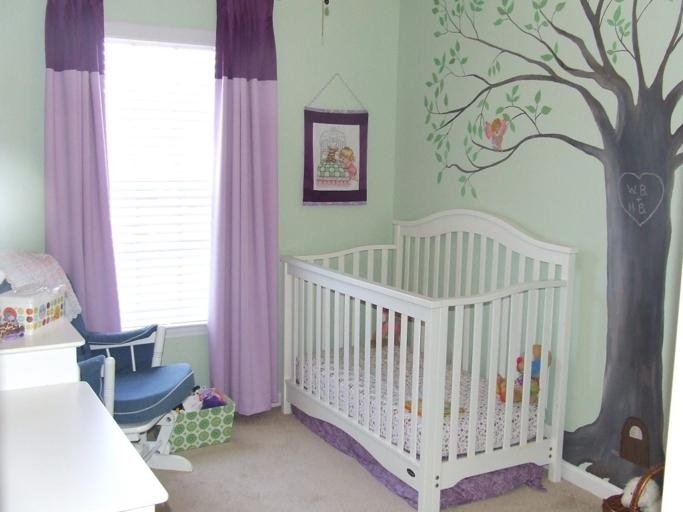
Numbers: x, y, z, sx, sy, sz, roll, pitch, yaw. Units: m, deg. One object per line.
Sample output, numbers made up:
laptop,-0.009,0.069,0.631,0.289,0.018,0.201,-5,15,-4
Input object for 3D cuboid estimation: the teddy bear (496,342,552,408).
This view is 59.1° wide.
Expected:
teddy bear,0.956,0.607,3.196,0.332,0.321,0.228,-6,14,-26

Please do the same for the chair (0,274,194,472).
chair,-1.094,0.651,3.114,0.916,1.177,0.775,1,4,-17

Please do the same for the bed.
bed,0.427,0.432,3.515,1.000,1.345,1.628,-8,15,-32
